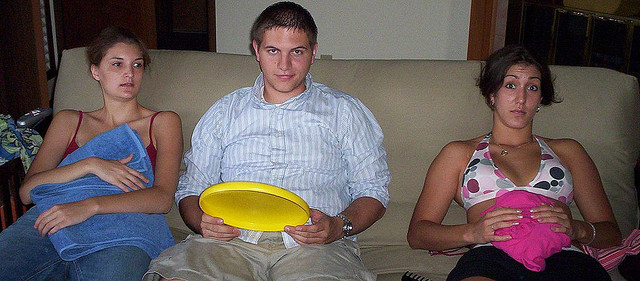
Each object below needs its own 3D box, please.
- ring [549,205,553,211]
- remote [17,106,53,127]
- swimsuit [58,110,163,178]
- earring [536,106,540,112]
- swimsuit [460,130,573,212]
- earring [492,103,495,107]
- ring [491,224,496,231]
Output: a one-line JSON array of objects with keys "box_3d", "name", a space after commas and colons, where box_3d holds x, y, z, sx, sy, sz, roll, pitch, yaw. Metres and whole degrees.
[{"box_3d": [1.758, 0.512, 3.072, 0.025, 0.035, 0.046, 7, 12, 20], "name": "ring"}, {"box_3d": [-2.561, -0.199, 3.696, 0.180, 0.069, 0.324, 18, 30, 29], "name": "remote"}, {"box_3d": [-2.131, 0.136, 3.842, 0.671, 0.182, 0.845, -7, -12, -39], "name": "swimsuit"}, {"box_3d": [1.855, -0.269, 3.434, 0.016, 0.051, 0.144, 10, 13, 30], "name": "earring"}, {"box_3d": [1.711, 0.203, 3.514, 1.115, 0.821, 0.525, 4, 8, 14], "name": "swimsuit"}, {"box_3d": [1.486, -0.299, 3.456, 0.022, 0.020, 0.023, 10, 29, 23], "name": "earring"}, {"box_3d": [1.320, 0.658, 3.071, 0.018, 0.049, 0.058, -7, 7, 3], "name": "ring"}]
